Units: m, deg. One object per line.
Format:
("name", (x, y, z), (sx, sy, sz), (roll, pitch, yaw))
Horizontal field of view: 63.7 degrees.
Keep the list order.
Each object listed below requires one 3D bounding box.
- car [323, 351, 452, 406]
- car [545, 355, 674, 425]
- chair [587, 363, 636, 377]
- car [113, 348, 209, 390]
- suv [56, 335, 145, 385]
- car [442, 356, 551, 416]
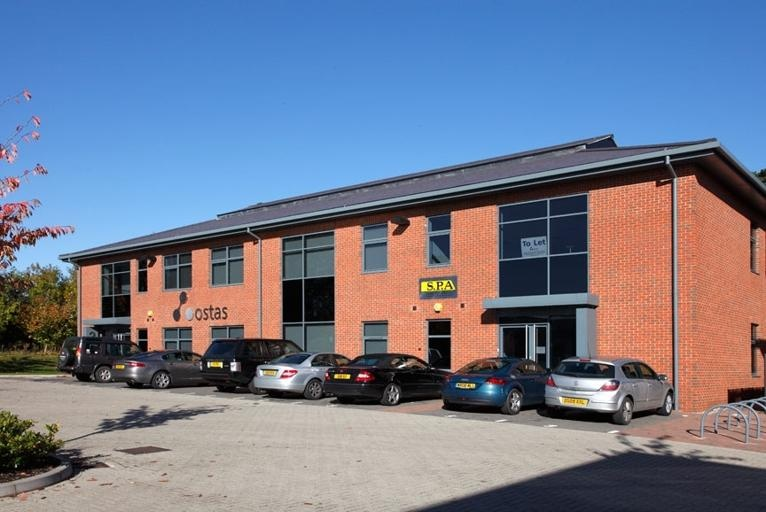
("car", (0.287, 3.920, 20.499), (4.372, 1.051, 1.768), (2, -5, -40))
("car", (6.877, 3.770, 17.627), (4.718, 1.766, 1.932), (4, -7, -30))
("chair", (6.222, 3.096, 16.757), (1.693, 0.440, 0.661), (4, -7, -30))
("car", (-9.291, 4.811, 26.645), (4.224, 1.081, 1.925), (2, -5, -38))
("suv", (-13.749, 4.940, 30.332), (4.205, 1.594, 2.306), (1, -3, -38))
("car", (3.477, 3.870, 18.518), (2.868, 1.588, 1.342), (4, -7, -28))
